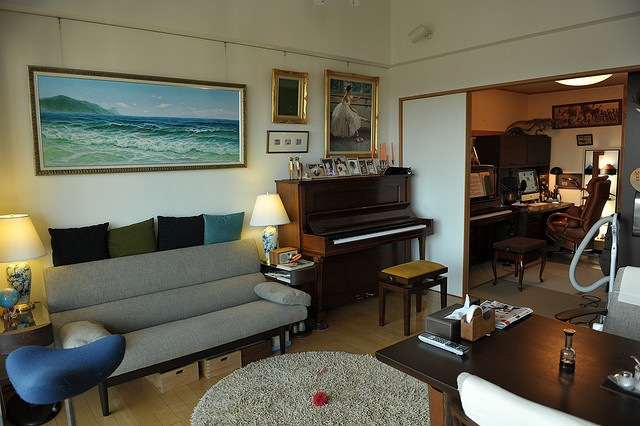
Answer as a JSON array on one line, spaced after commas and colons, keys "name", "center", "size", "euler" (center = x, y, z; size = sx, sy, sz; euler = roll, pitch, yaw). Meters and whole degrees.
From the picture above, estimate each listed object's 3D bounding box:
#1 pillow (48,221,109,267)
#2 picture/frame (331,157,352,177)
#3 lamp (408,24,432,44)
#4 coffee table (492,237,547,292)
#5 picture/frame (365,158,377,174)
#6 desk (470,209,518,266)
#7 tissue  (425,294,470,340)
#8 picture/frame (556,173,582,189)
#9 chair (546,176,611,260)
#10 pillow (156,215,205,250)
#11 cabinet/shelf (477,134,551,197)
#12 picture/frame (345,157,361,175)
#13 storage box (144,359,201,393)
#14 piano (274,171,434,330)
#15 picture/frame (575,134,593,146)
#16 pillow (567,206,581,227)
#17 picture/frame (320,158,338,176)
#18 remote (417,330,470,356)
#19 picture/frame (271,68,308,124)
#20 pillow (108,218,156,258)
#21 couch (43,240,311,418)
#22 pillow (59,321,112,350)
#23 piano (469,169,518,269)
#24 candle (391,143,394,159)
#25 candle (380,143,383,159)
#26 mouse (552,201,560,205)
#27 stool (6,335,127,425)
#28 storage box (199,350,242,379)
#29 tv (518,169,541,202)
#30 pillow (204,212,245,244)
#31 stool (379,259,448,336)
[{"name": "pillow", "center": [-2.432, 0.320, 4.330], "size": [0.532, 0.371, 0.195], "euler": [-5, 16, -35]}, {"name": "picture/frame", "center": [0.280, -0.640, 5.938], "size": [0.270, 0.289, 0.030], "euler": [15, -35, -36]}, {"name": "lamp", "center": [1.391, -2.463, 5.899], "size": [0.343, 0.179, 0.237], "euler": [-13, -5, 10]}, {"name": "coffee table", "center": [3.051, 0.737, 6.576], "size": [0.802, 0.648, 0.590], "euler": [-13, 17, -42]}, {"name": "picture/frame", "center": [0.741, -0.682, 6.266], "size": [0.165, 0.216, 0.066], "euler": [-7, -5, -27]}, {"name": "desk", "center": [2.928, 0.321, 7.342], "size": [1.099, 0.663, 0.374], "euler": [-7, 7, -30]}, {"name": "tissue ", "center": [1.037, 0.836, 3.353], "size": [0.426, 0.171, 0.230], "euler": [-7, 11, -42]}, {"name": "picture/frame", "center": [5.134, -0.669, 8.779], "size": [0.514, 0.346, 0.277], "euler": [4, -11, 29]}, {"name": "chair", "center": [4.338, 0.009, 7.172], "size": [0.938, 1.225, 0.898], "euler": [-12, 12, -23]}, {"name": "pillow", "center": [-1.577, 0.218, 4.742], "size": [0.369, 0.268, 0.125], "euler": [-6, -6, -32]}, {"name": "cabinet/shelf", "center": [3.846, -0.874, 8.394], "size": [1.601, 1.269, 0.491], "euler": [-7, 8, -29]}, {"name": "picture/frame", "center": [0.457, -0.659, 6.057], "size": [0.017, 0.204, 0.238], "euler": [-21, 6, 40]}, {"name": "storage box", "center": [-1.418, 1.549, 4.052], "size": [0.416, 0.168, 0.381], "euler": [-4, 3, -31]}, {"name": "piano", "center": [0.590, 0.384, 5.837], "size": [2.009, 1.733, 0.948], "euler": [-7, 7, -35]}, {"name": "picture/frame", "center": [5.279, -1.468, 8.501], "size": [0.023, 0.225, 0.274], "euler": [-26, 20, -35]}, {"name": "pillow", "center": [4.159, 0.056, 6.975], "size": [0.191, 0.343, 0.413], "euler": [6, 15, 30]}, {"name": "picture/frame", "center": [0.113, -0.624, 5.833], "size": [0.243, 0.264, 0.028], "euler": [14, -36, -37]}, {"name": "remote", "center": [0.903, 0.927, 3.139], "size": [0.363, 0.082, 0.109], "euler": [8, 15, 42]}, {"name": "picture/frame", "center": [-0.419, -1.538, 5.547], "size": [0.763, 0.846, 0.092], "euler": [-4, 7, -44]}, {"name": "pillow", "center": [-1.966, 0.287, 4.591], "size": [0.472, 0.340, 0.170], "euler": [-11, 16, 9]}, {"name": "couch", "center": [-1.357, 1.022, 4.458], "size": [1.114, 1.109, 2.370], "euler": [7, 8, 45]}, {"name": "pillow", "center": [-2.039, 1.038, 3.750], "size": [0.390, 0.191, 0.372], "euler": [2, 4, 34]}, {"name": "piano", "center": [2.698, 0.018, 7.129], "size": [0.528, 1.479, 1.635], "euler": [14, 17, 42]}, {"name": "candle", "center": [1.117, -0.940, 6.586], "size": [0.040, 0.282, 0.093], "euler": [0, 13, 9]}, {"name": "candle", "center": [0.944, -0.966, 6.533], "size": [0.062, 0.248, 0.155], "euler": [-1, 13, 4]}, {"name": "mouse", "center": [4.683, -0.210, 8.473], "size": [0.104, 0.025, 0.110], "euler": [-3, 9, -11]}, {"name": "stool", "center": [-1.721, 1.010, 3.087], "size": [0.570, 0.768, 0.504], "euler": [14, 16, 7]}, {"name": "storage box", "center": [-0.982, 1.522, 4.278], "size": [0.336, 0.138, 0.248], "euler": [-6, 4, -41]}, {"name": "tv", "center": [4.067, -0.593, 8.524], "size": [0.674, 0.584, 0.230], "euler": [-7, 1, -31]}, {"name": "pillow", "center": [-1.144, 0.178, 4.997], "size": [0.367, 0.227, 0.097], "euler": [-8, 11, -42]}, {"name": "stool", "center": [1.171, 1.010, 5.359], "size": [0.850, 0.718, 0.477], "euler": [-5, 6, -41]}]
